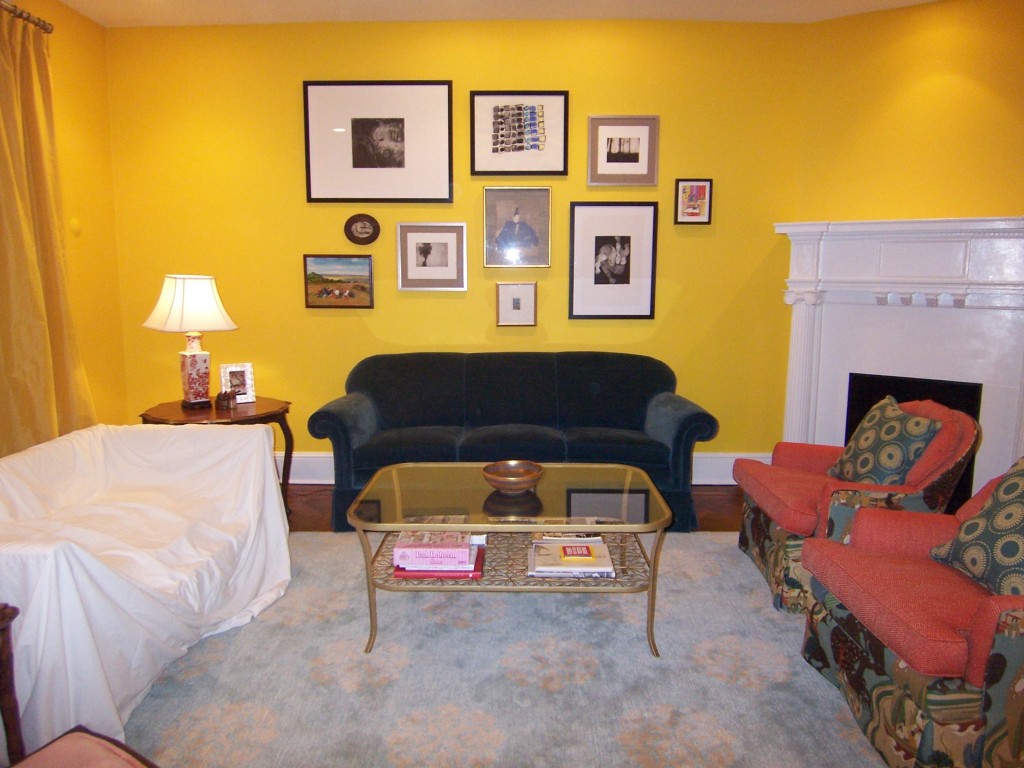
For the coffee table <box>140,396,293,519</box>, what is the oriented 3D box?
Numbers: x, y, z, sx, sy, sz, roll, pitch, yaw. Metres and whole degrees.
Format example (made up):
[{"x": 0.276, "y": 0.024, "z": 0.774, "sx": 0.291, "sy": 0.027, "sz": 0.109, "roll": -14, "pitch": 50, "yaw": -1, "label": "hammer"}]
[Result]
[{"x": -1.891, "y": 0.306, "z": 5.269, "sx": 0.829, "sy": 0.687, "sz": 0.861, "roll": -4, "pitch": 12, "yaw": -23, "label": "coffee table"}]

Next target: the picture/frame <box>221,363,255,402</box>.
[{"x": -1.865, "y": -0.009, "z": 5.448, "sx": 0.255, "sy": 0.337, "sz": 0.036, "roll": -2, "pitch": 5, "yaw": -18, "label": "picture/frame"}]

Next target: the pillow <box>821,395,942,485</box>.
[{"x": 1.980, "y": 0.324, "z": 4.273, "sx": 0.127, "sy": 0.436, "sz": 0.426, "roll": 30, "pitch": 7, "yaw": -18, "label": "pillow"}]

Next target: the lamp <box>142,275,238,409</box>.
[{"x": -2.105, "y": -0.289, "z": 5.261, "sx": 0.522, "sy": 0.848, "sz": 0.373, "roll": -5, "pitch": 15, "yaw": -28, "label": "lamp"}]

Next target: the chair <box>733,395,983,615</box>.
[{"x": 1.912, "y": 0.432, "z": 4.569, "sx": 1.119, "sy": 1.210, "sz": 1.321, "roll": 1, "pitch": 4, "yaw": 2, "label": "chair"}]
